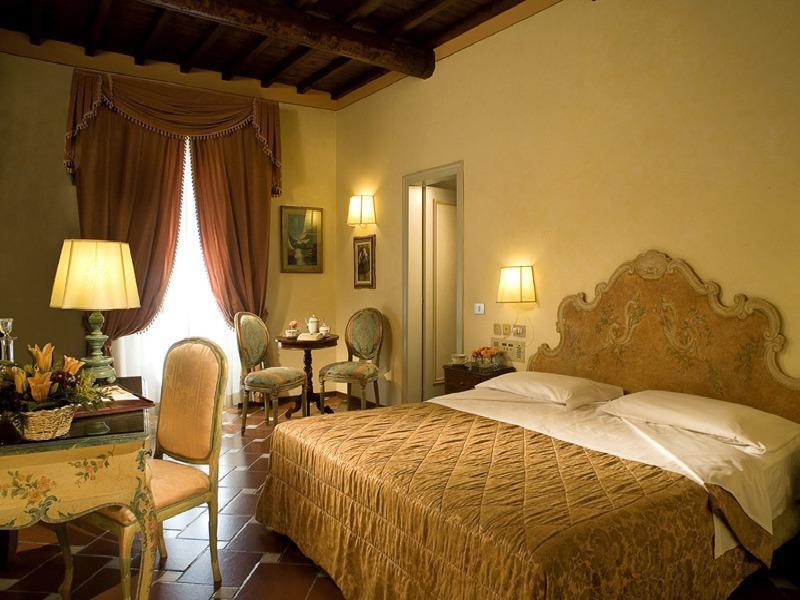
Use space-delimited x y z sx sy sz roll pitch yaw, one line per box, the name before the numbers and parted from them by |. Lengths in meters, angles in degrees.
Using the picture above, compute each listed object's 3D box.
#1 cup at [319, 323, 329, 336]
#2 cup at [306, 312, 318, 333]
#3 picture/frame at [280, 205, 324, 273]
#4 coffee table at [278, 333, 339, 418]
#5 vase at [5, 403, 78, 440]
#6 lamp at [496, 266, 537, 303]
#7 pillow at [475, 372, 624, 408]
cup | -0.853 0.340 6.511 0.108 0.161 0.135 -1 4 -24
cup | -1.032 0.270 6.645 0.196 0.223 0.120 7 -10 -41
picture/frame | -1.265 -0.777 7.183 0.757 1.144 0.072 2 -2 -36
coffee table | -0.991 0.832 6.285 0.748 1.022 0.767 1 3 42
vase | -1.652 0.557 2.586 0.301 0.143 0.134 -2 10 3
lamp | 1.056 -0.109 5.137 0.320 0.356 0.203 -9 -20 32
pillow | 1.107 0.680 4.421 0.376 0.135 0.585 -3 2 -40
